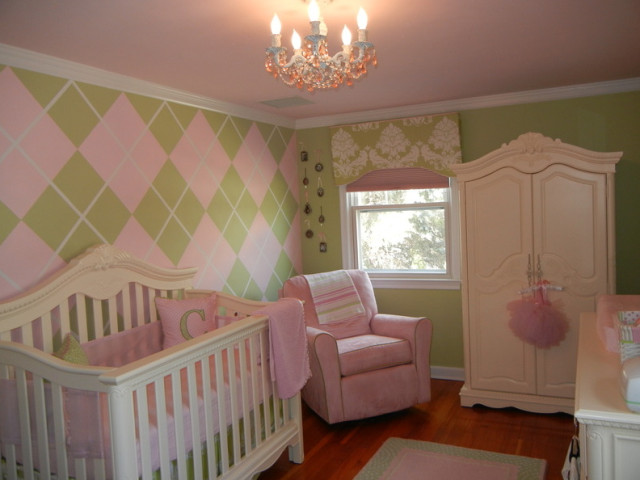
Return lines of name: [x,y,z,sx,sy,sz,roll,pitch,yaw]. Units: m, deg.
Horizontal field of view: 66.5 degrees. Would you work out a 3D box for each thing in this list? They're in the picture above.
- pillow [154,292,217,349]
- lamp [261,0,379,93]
pillow: [-0.914,0.558,3.306,0.317,0.326,0.119,-8,-15,-30]
lamp: [-0.001,-1.042,2.579,0.284,0.374,0.303,-17,-26,35]
